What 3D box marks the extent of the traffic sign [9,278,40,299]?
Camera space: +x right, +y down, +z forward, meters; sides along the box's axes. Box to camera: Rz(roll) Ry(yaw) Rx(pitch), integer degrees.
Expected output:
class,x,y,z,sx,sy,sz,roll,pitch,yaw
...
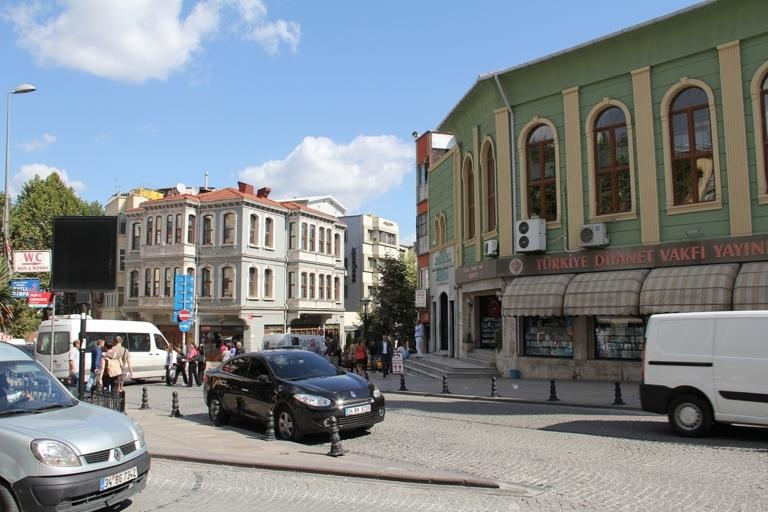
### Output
class,x,y,z,sx,sy,sz,roll,pitch,yaw
traffic sign,-13.572,1.222,29.614,0.783,0.555,0.432,3,7,2

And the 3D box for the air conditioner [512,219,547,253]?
class,x,y,z,sx,sy,sz,roll,pitch,yaw
air conditioner,6.210,-0.856,33.016,1.323,1.310,0.466,-6,-13,44

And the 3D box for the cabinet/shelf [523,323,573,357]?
class,x,y,z,sx,sy,sz,roll,pitch,yaw
cabinet/shelf,6.974,3.559,32.949,1.445,1.237,0.509,-3,-4,35

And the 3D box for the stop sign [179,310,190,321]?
class,x,y,z,sx,sy,sz,roll,pitch,yaw
stop sign,-10.155,3.016,39.979,0.539,0.575,0.715,2,-8,-18

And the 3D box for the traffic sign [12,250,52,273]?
class,x,y,z,sx,sy,sz,roll,pitch,yaw
traffic sign,-11.229,0.165,25.059,0.112,0.531,0.846,-10,-9,40
